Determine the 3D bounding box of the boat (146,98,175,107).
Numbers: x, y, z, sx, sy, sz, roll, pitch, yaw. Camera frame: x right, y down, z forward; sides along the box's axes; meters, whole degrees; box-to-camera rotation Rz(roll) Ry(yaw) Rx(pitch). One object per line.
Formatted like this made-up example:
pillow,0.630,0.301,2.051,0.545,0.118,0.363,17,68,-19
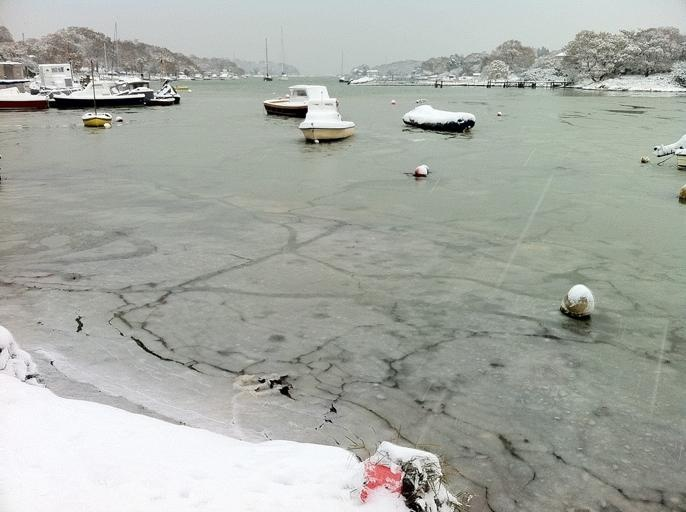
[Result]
boat,-20.371,-17.275,58.678,2.141,0.593,1.602,13,23,32

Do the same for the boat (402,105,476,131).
boat,6.640,-9.514,36.372,4.873,1.276,2.629,15,27,39
